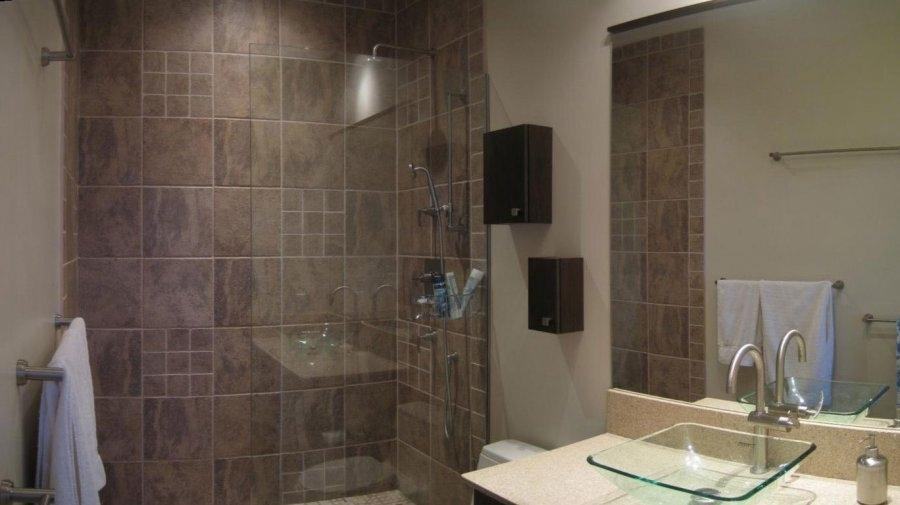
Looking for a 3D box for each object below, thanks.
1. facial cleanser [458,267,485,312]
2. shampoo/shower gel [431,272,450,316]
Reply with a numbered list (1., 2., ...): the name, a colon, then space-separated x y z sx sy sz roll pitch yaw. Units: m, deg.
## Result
1. facial cleanser: 0.124 0.226 4.326 0.098 0.316 0.048 28 -13 -18
2. shampoo/shower gel: -0.028 0.285 4.222 0.055 0.213 0.170 3 -3 -37
